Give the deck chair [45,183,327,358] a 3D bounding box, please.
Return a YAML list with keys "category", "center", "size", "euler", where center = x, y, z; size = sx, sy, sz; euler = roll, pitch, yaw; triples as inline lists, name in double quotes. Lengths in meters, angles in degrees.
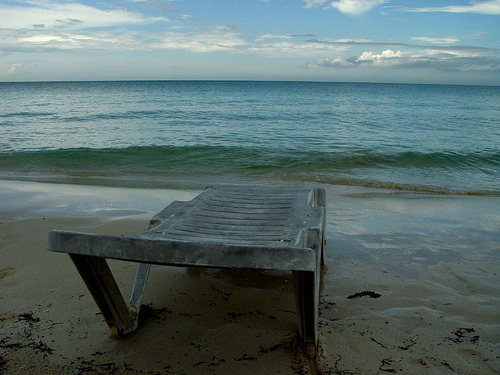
- category: "deck chair"
  center: [-0.058, 0.436, 3.536]
  size: [1.647, 0.567, 2.167]
  euler: [2, 12, 16]
